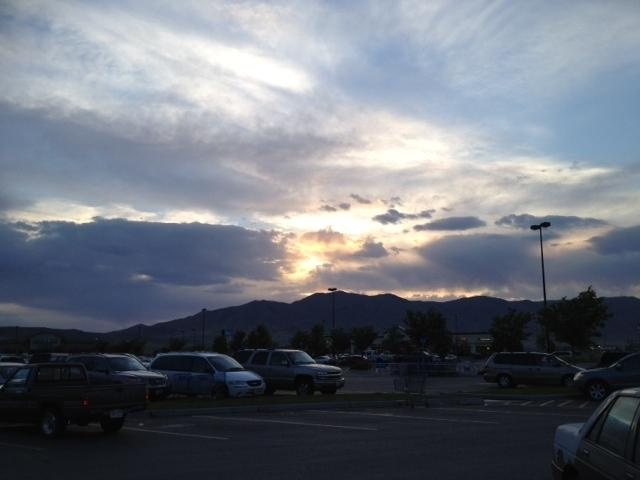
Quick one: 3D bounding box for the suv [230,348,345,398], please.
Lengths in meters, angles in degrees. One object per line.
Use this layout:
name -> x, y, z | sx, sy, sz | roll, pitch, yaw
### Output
suv -> -1.286, 6.106, 29.344 | 4.186, 1.526, 2.215 | -6, -9, 33

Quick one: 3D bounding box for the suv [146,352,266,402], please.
suv -> -4.819, 5.764, 27.032 | 4.332, 1.565, 2.101 | -4, -8, 28

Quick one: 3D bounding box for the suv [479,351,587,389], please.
suv -> 10.806, 6.670, 32.460 | 4.201, 1.399, 2.026 | -5, -6, 21

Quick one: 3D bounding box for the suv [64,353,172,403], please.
suv -> -8.599, 5.812, 25.797 | 5.059, 1.891, 2.325 | -4, -9, 28
